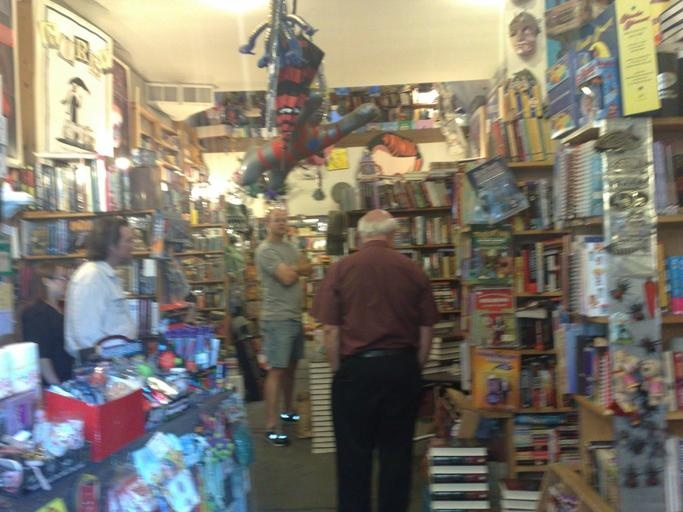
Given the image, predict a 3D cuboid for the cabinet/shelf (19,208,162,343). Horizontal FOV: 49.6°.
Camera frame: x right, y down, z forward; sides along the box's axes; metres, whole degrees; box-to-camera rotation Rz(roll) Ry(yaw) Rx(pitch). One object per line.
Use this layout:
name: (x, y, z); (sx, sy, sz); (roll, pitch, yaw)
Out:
cabinet/shelf: (-1.367, 0.086, 4.165); (0.688, 0.941, 0.747); (0, 5, -15)

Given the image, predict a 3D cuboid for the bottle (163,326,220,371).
bottle: (-0.823, 0.517, 4.095); (0.293, 0.227, 0.357); (-1, -4, -12)

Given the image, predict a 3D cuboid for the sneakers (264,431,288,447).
sneakers: (-0.417, 1.195, 4.815); (0.166, 0.053, 0.074); (3, -6, 15)

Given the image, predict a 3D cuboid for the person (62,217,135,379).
person: (-1.215, 0.175, 3.713); (0.344, 0.734, 0.200); (-2, -4, -15)

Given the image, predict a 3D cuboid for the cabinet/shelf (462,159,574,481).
cabinet/shelf: (1.033, 0.529, 4.298); (0.573, 1.490, 0.344); (-4, -4, 12)
